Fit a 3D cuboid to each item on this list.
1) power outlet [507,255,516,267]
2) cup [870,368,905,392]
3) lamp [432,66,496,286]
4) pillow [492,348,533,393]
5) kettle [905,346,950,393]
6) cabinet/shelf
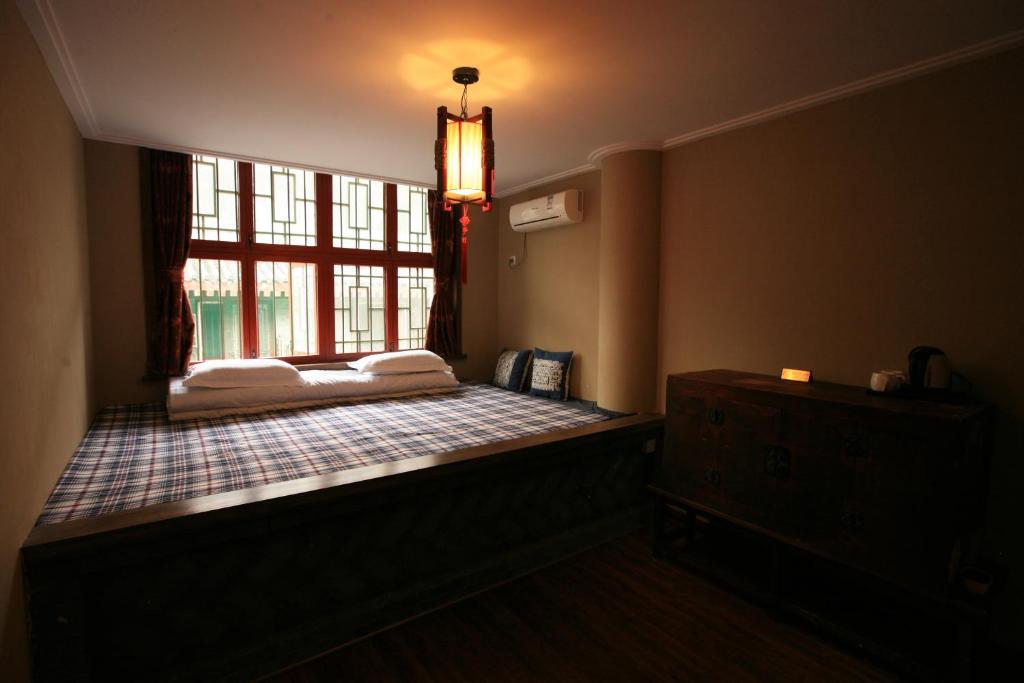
[{"bbox_3d":[-0.003,-0.818,6.554,0.023,0.090,0.098,-4,12,-38],"label":"power outlet"},{"bbox_3d":[2.190,0.233,3.762,0.135,0.141,0.172,4,9,-25],"label":"cup"},{"bbox_3d":[-0.284,-1.204,4.205,0.330,1.003,0.811,0,5,0],"label":"lamp"},{"bbox_3d":[0.024,0.292,6.195,0.171,0.316,0.398,1,2,-28],"label":"pillow"},{"bbox_3d":[2.329,0.147,3.676,0.185,0.258,0.248,5,7,2],"label":"kettle"},{"bbox_3d":[1.936,0.363,3.747,0.972,0.947,1.794,-5,8,-38],"label":"cabinet/shelf"}]
